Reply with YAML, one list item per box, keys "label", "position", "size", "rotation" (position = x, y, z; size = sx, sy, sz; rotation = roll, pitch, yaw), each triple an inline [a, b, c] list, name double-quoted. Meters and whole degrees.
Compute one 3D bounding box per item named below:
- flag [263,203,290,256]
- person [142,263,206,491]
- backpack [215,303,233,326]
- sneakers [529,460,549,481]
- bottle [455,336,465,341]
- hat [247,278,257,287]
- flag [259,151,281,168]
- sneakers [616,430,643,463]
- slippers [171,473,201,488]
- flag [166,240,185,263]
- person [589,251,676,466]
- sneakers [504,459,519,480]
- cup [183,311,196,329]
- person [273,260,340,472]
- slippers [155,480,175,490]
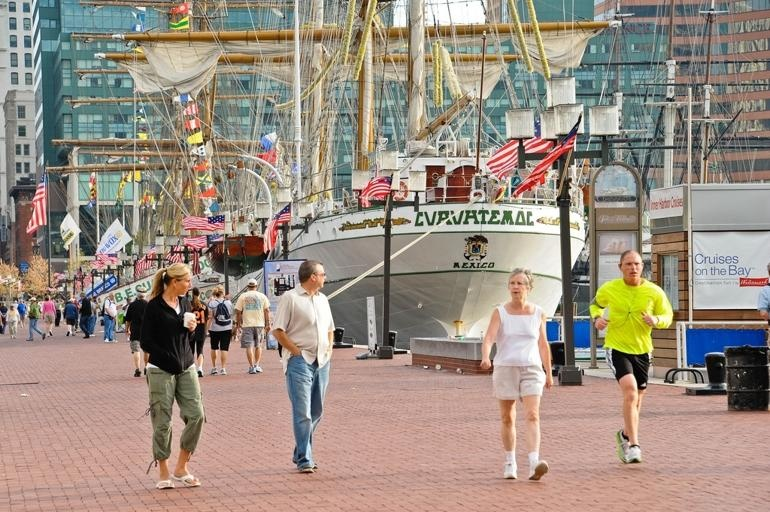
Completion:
- label: "flag"
  position: [-3.857, -1.115, 41.823]
  size: [1.134, 1.462, 0.156]
  rotation: [-17, 40, -13]
- label: "person"
  position: [-3.072, 1.695, 17.015]
  size: [0.865, 3.187, 0.554]
  rotation: [-1, 1, -8]
- label: "backpack"
  position: [-3.982, 1.415, 28.904]
  size: [0.528, 0.717, 0.399]
  rotation: [-1, 5, -16]
- label: "sneakers"
  position: [2.186, 3.037, 16.932]
  size: [0.250, 0.294, 0.411]
  rotation: [-1, 1, 6]
- label: "bottle"
  position: [1.974, 2.176, 31.520]
  size: [0.206, 0.147, 0.324]
  rotation: [-1, -3, -4]
- label: "hat"
  position: [-3.333, 0.704, 29.426]
  size: [0.258, 0.193, 0.400]
  rotation: [0, 7, -5]
- label: "flag"
  position: [-5.134, -4.395, 52.475]
  size: [0.839, 0.424, 1.083]
  rotation: [1, -5, -1]
- label: "sneakers"
  position: [3.641, 2.823, 17.800]
  size: [0.230, 0.283, 0.630]
  rotation: [-3, 29, -5]
- label: "slippers"
  position: [-2.860, 3.207, 16.952]
  size: [0.395, 0.171, 0.182]
  rotation: [9, 33, -24]
- label: "flag"
  position: [-11.066, -0.251, 62.178]
  size: [1.151, 1.478, 1.161]
  rotation: [2, 1, -18]
- label: "person"
  position: [3.721, 1.495, 17.989]
  size: [1.163, 3.160, 0.862]
  rotation: [-1, 1, 6]
- label: "sneakers"
  position: [1.806, 3.073, 17.070]
  size: [0.176, 0.251, 0.149]
  rotation: [-1, 1, 0]
- label: "cup"
  position: [-2.799, 0.924, 16.889]
  size: [0.212, 0.186, 0.192]
  rotation: [0, 2, -18]
- label: "person"
  position: [-1.217, 1.621, 17.660]
  size: [0.889, 3.098, 0.602]
  rotation: [-1, 1, -8]
- label: "slippers"
  position: [-3.135, 3.226, 16.828]
  size: [0.254, 0.144, 0.167]
  rotation: [-1, 1, -12]
